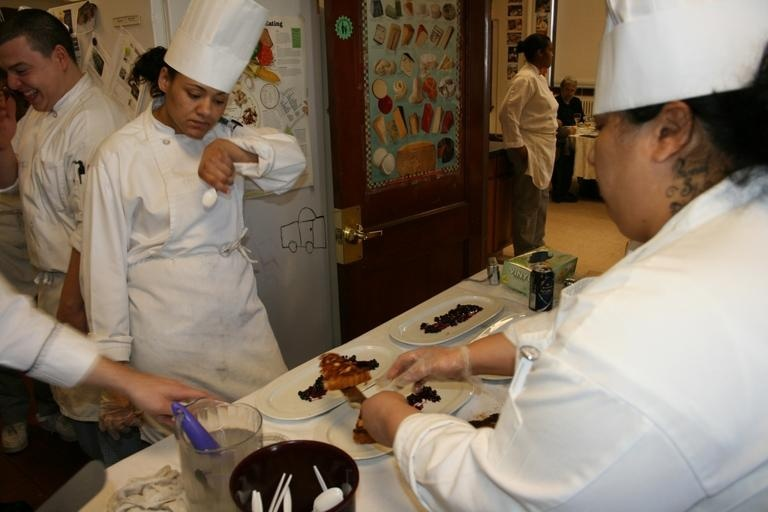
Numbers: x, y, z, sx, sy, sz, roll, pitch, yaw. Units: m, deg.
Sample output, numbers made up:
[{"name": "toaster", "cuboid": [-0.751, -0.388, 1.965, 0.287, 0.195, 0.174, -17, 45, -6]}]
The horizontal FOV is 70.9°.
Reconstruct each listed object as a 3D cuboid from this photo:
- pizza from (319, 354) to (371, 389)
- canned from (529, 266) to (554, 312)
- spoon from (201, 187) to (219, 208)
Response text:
[{"name": "pizza", "cuboid": [-0.131, 0.363, 1.701, 0.091, 0.025, 0.101, -2, 23, -15]}, {"name": "canned", "cuboid": [0.584, 0.141, 2.069, 0.092, 0.176, 0.095, 1, 0, -16]}, {"name": "spoon", "cuboid": [-0.618, -0.205, 1.926, 0.047, 0.017, 0.078, 0, 63, 15]}]
